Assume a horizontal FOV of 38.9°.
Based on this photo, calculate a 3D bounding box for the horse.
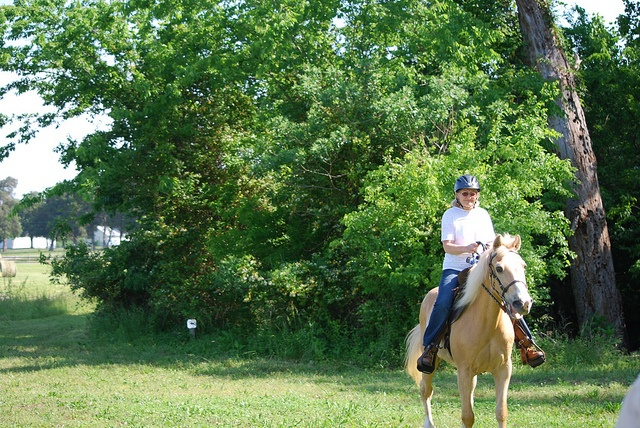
[{"bbox_3d":[4.995,3.524,29.687,4.090,6.303,5.327,2,10,16],"label":"horse"}]
